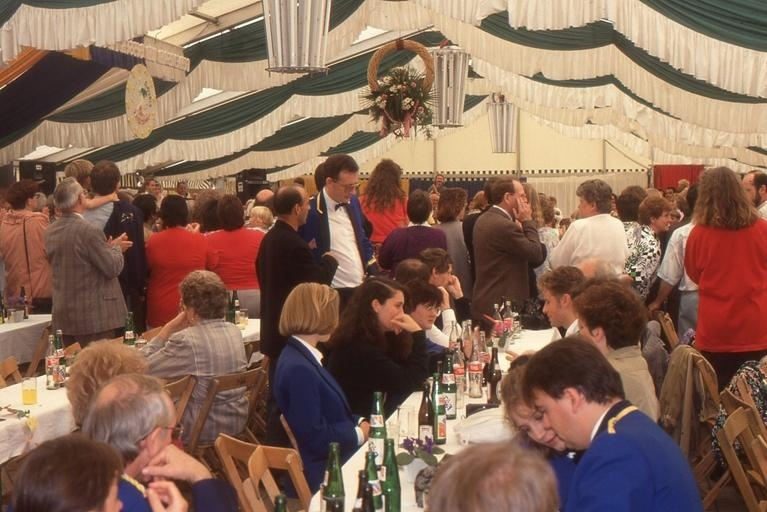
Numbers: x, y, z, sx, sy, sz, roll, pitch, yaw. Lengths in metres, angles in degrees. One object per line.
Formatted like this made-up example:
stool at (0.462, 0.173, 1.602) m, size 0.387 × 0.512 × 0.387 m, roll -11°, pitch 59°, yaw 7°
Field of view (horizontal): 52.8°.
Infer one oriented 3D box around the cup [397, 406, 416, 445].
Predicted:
cup at (0.147, 1.057, 4.908) m, size 0.131 × 0.262 × 0.143 m, roll 0°, pitch 5°, yaw 0°

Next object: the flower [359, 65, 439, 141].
flower at (0.249, -1.868, 9.371) m, size 0.743 × 0.837 × 0.818 m, roll 0°, pitch -4°, yaw -4°

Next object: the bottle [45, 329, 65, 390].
bottle at (-2.565, 0.801, 6.068) m, size 0.152 × 0.409 × 0.417 m, roll 5°, pitch -3°, yaw -23°

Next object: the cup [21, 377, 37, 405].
cup at (-2.549, 0.973, 5.576) m, size 0.094 × 0.192 × 0.109 m, roll 6°, pitch -3°, yaw -36°

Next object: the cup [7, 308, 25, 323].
cup at (-3.793, 0.598, 7.966) m, size 0.105 × 0.121 × 0.142 m, roll 2°, pitch -7°, yaw -13°

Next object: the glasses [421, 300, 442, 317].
glasses at (0.347, 0.417, 6.164) m, size 0.164 × 0.104 × 0.131 m, roll 2°, pitch -2°, yaw 43°

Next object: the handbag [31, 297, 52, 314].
handbag at (-3.754, 0.534, 8.499) m, size 0.193 × 0.147 × 0.205 m, roll 1°, pitch 1°, yaw -8°

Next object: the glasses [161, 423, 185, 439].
glasses at (-1.119, 0.913, 4.076) m, size 0.109 × 0.049 × 0.115 m, roll 2°, pitch -2°, yaw 29°
